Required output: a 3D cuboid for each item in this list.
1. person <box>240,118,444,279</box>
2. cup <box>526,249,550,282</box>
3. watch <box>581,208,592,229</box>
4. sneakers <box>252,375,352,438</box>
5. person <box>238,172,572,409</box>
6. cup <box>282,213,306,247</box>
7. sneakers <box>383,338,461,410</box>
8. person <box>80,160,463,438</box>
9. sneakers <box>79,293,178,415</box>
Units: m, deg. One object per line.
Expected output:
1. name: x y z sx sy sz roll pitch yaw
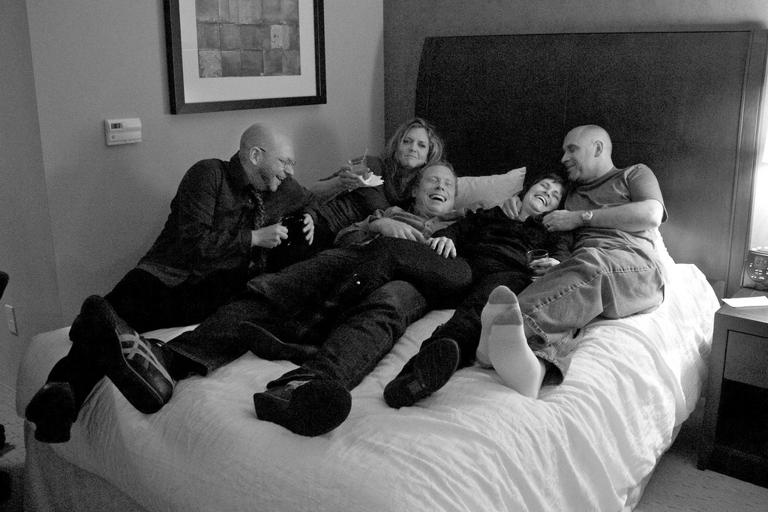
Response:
1. person: -0.230 -0.301 3.096 0.984 0.324 0.319 -32 30 -16
2. cup: 0.735 0.036 2.808 0.131 0.140 0.124 -3 17 1
3. watch: 1.078 -0.201 2.985 0.046 0.078 0.076 7 -10 16
4. sneakers: -0.270 0.510 1.921 0.297 0.186 0.127 3 -16 14
5. person: 0.245 0.173 2.445 0.723 0.354 1.350 -6 26 43
6. cup: -0.458 -0.112 2.960 0.152 0.142 0.232 1 54 -11
7. sneakers: 0.158 0.423 2.059 0.310 0.115 0.179 -43 58 -17
8. person: -0.335 0.052 2.242 0.714 0.359 1.199 6 29 35
9. sneakers: -0.945 0.359 2.041 0.293 0.430 0.133 2 18 13
